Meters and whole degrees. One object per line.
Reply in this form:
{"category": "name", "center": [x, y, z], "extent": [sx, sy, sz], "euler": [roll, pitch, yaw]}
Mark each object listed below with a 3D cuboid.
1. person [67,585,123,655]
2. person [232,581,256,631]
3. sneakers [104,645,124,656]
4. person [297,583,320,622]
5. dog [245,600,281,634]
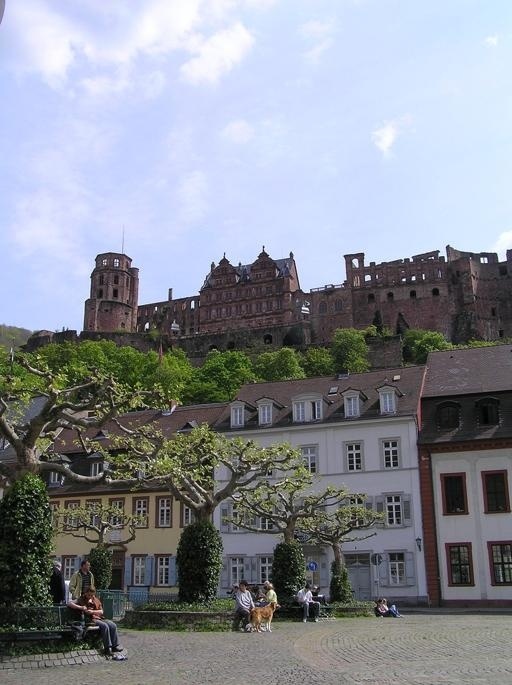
{"category": "person", "center": [-2.527, 4.546, 12.165], "extent": [0.971, 1.029, 0.583], "euler": [-5, -15, 13]}
{"category": "person", "center": [-0.222, 6.521, 18.571], "extent": [0.510, 1.078, 0.629], "euler": [16, -19, -33]}
{"category": "sneakers", "center": [-2.230, 4.916, 11.902], "extent": [0.183, 0.075, 0.253], "euler": [17, -20, -41]}
{"category": "person", "center": [1.568, 7.657, 22.076], "extent": [0.626, 0.967, 1.385], "euler": [-2, -14, 4]}
{"category": "dog", "center": [0.135, 6.785, 18.443], "extent": [0.590, 0.617, 1.341], "euler": [-1, -14, -1]}
